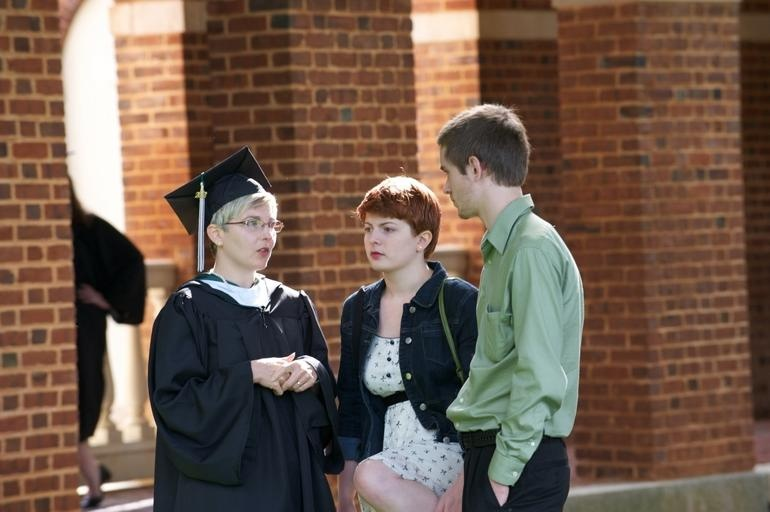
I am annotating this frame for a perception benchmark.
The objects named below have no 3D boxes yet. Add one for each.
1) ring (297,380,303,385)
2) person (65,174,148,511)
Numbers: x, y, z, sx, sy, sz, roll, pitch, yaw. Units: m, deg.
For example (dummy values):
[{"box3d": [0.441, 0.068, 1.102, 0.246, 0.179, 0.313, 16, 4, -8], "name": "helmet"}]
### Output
[{"box3d": [-0.591, 0.870, 10.342, 0.053, 0.034, 0.012, 0, -2, -21], "name": "ring"}, {"box3d": [-2.274, 0.741, 12.320, 0.688, 2.702, 0.231, -4, 0, -39], "name": "person"}]
